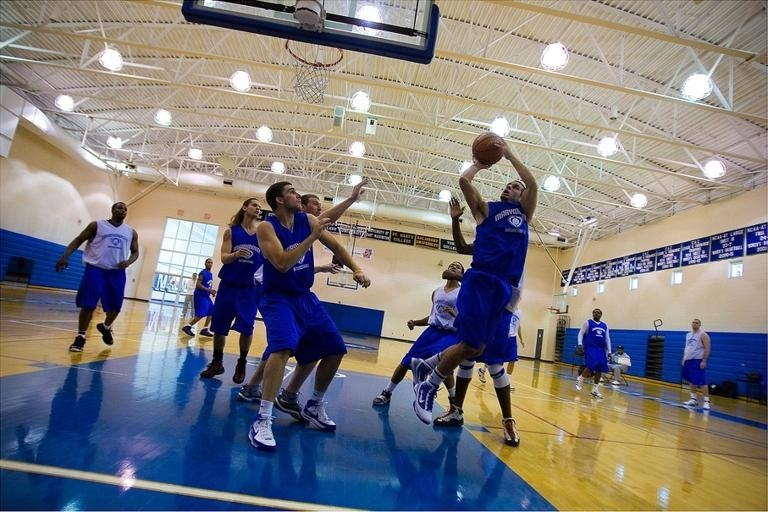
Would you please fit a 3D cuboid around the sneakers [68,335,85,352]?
[{"bbox_3d":[-3.390,0.952,4.861,0.133,0.194,0.344,11,-5,-33],"label":"sneakers"}]

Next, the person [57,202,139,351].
[{"bbox_3d":[-3.496,0.173,5.420,0.715,2.008,1.537,11,-4,-29],"label":"person"}]

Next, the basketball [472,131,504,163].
[{"bbox_3d":[0.852,-0.933,3.774,0.266,0.271,0.280,5,-47,4],"label":"basketball"}]

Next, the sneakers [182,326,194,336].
[{"bbox_3d":[-3.763,1.420,8.419,0.126,0.149,0.345,12,-16,-39],"label":"sneakers"}]

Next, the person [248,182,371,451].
[{"bbox_3d":[-0.664,0.412,3.533,0.880,1.848,0.721,10,-4,-20],"label":"person"}]

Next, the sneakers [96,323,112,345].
[{"bbox_3d":[-3.480,0.968,5.477,0.130,0.294,0.112,-10,7,5],"label":"sneakers"}]

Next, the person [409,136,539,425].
[{"bbox_3d":[0.819,0.247,3.760,0.780,1.614,0.384,9,-4,-5],"label":"person"}]
